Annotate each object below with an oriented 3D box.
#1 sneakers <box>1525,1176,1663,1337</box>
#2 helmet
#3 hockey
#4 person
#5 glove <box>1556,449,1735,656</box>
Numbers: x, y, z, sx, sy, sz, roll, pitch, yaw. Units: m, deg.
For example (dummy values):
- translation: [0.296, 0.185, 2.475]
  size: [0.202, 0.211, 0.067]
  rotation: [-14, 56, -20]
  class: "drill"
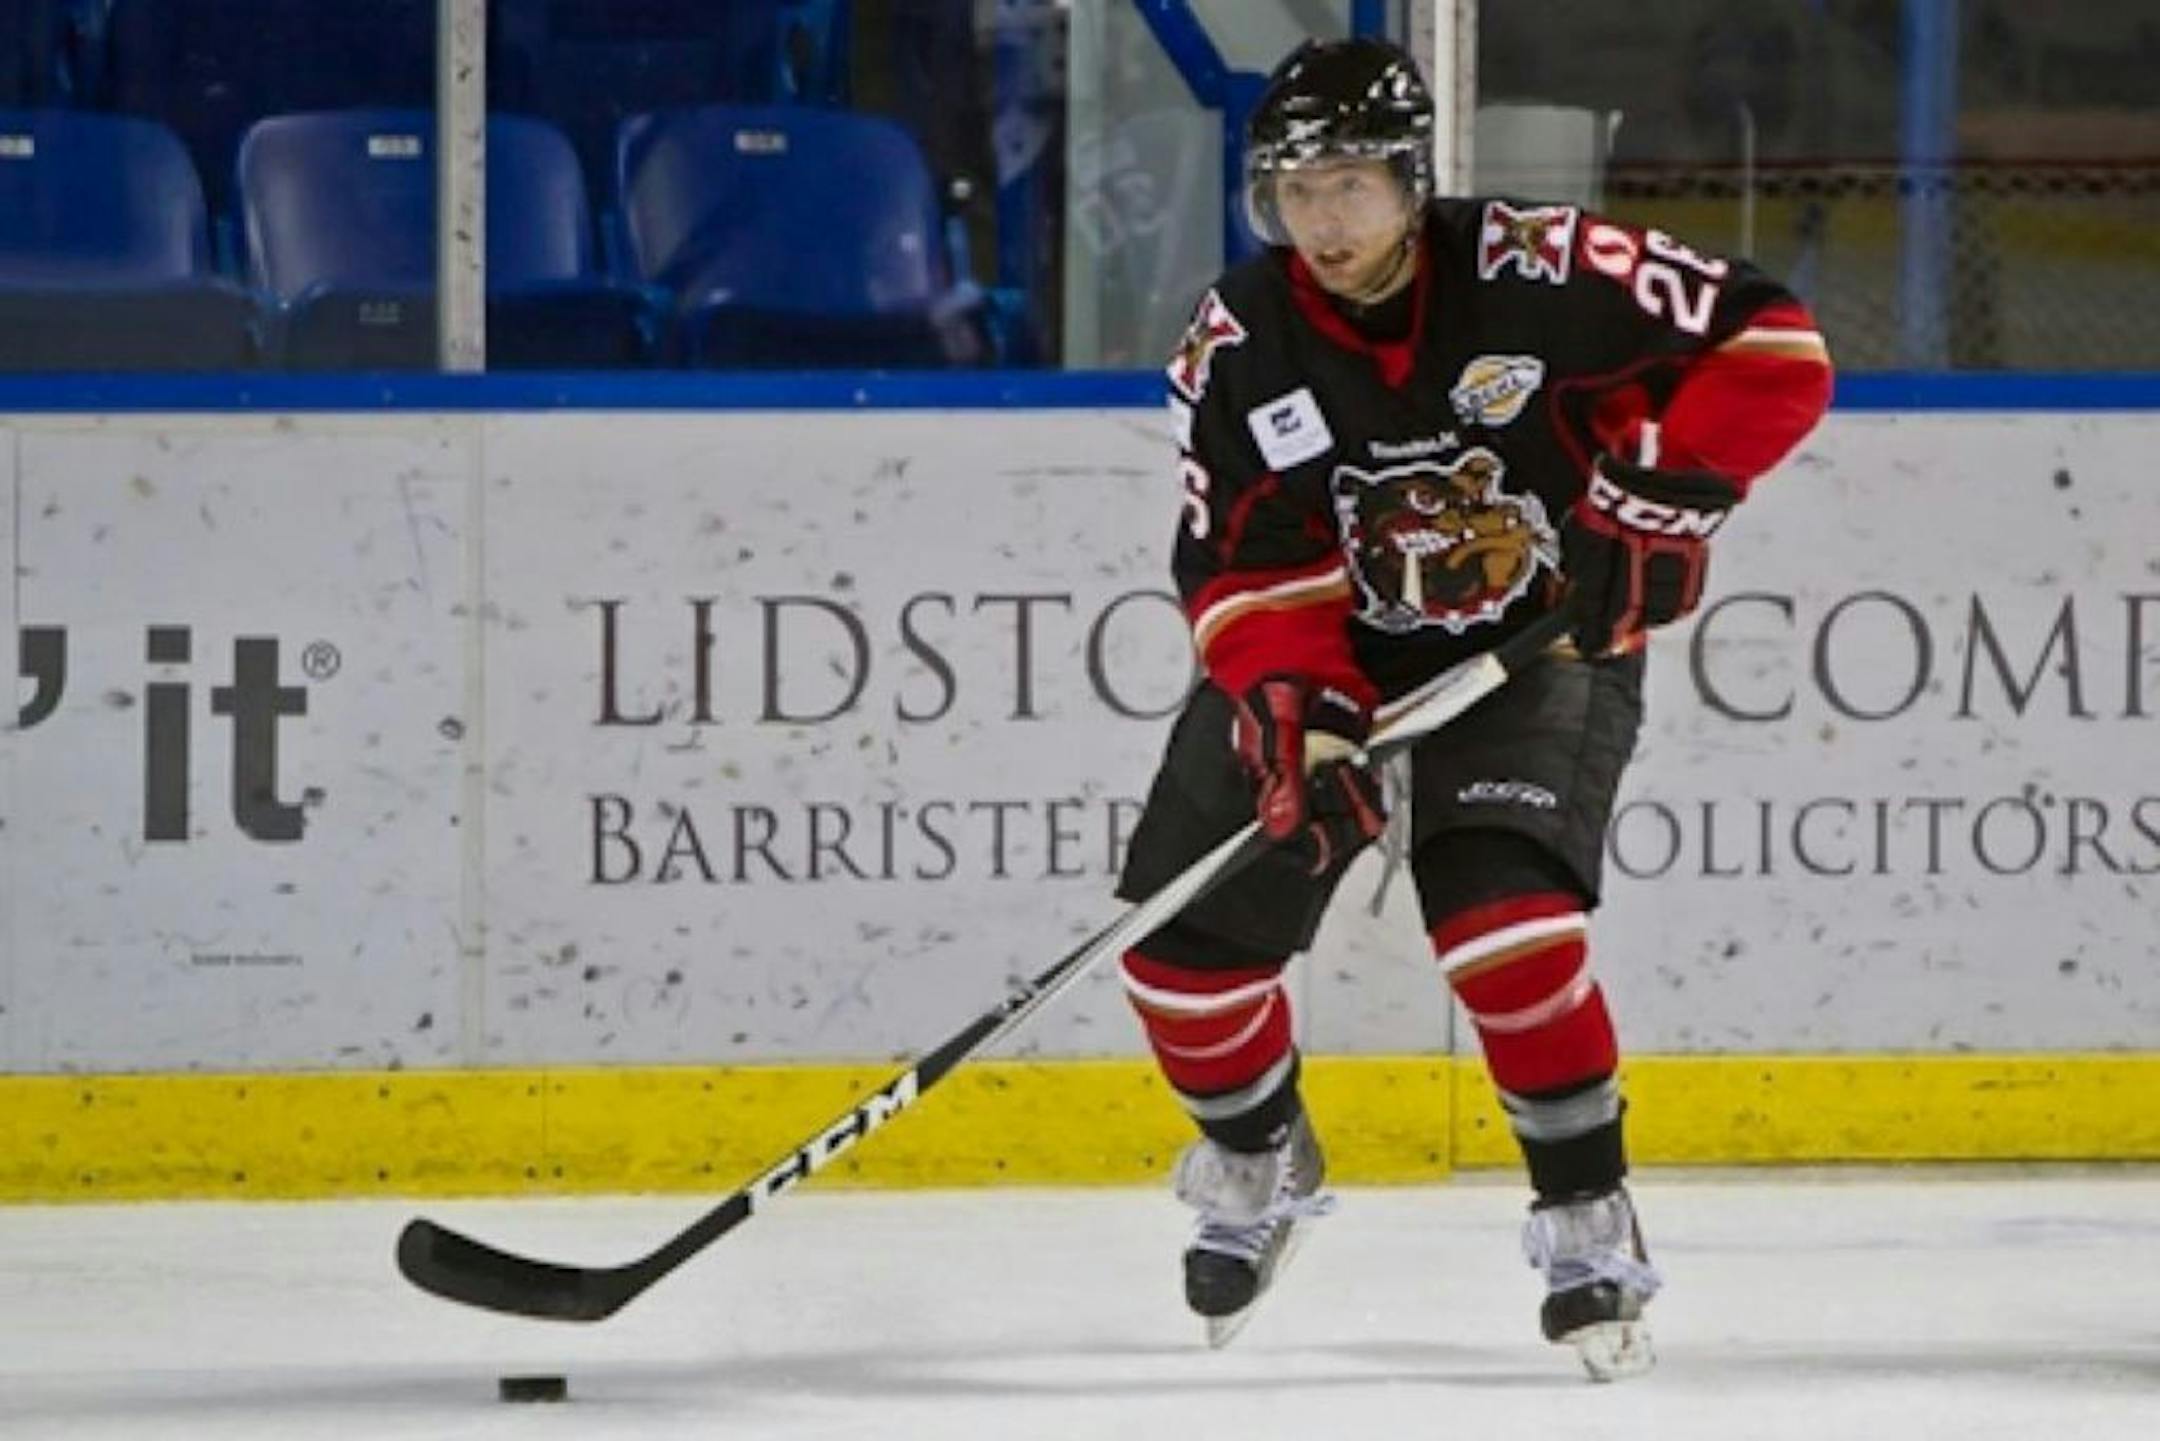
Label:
- translation: [0.727, 0.850, 6.824]
  size: [0.227, 0.281, 0.304]
  rotation: [-5, -10, -4]
  class: "sneakers"
- translation: [0.356, -0.887, 6.866]
  size: [0.297, 0.327, 0.338]
  rotation: [-7, -7, 23]
  class: "helmet"
- translation: [-0.169, 0.410, 7.405]
  size: [1.848, 0.151, 0.301]
  rotation: [-32, 14, -3]
  class: "hockey"
- translation: [0.556, -0.033, 6.840]
  size: [1.004, 2.012, 0.287]
  rotation: [2, 5, 18]
  class: "person"
- translation: [0.848, -0.273, 6.809]
  size: [0.245, 0.298, 0.232]
  rotation: [6, 23, -30]
  class: "glove"
